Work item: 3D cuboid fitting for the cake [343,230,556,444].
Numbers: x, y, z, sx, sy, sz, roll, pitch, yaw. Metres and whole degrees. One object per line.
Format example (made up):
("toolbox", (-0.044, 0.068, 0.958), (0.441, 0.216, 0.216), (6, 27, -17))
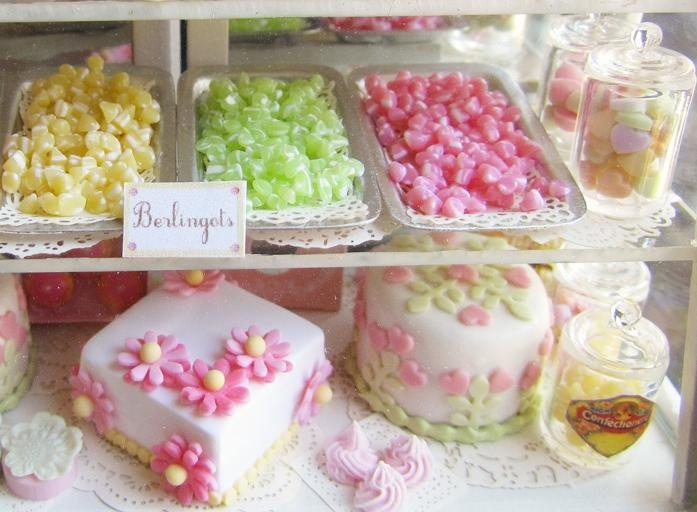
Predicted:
("cake", (0.227, 0.170, 1.290), (0.442, 0.258, 0.423), (0, 24, -9))

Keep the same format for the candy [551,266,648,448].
("candy", (0.552, 0.147, 1.299), (0.185, 0.179, 0.180), (1, 28, 4))

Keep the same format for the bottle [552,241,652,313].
("bottle", (0.576, 0.066, 1.351), (0.159, 0.144, 0.156), (-2, 24, -4))

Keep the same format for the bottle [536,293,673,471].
("bottle", (0.518, 0.239, 1.175), (0.198, 0.330, 0.192), (-3, 30, 2))

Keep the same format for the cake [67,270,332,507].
("cake", (-0.278, 0.248, 1.101), (0.401, 0.212, 0.400), (29, 33, 19))

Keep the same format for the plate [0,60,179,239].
("plate", (-0.459, -0.169, 1.072), (0.325, 0.125, 0.376), (0, 52, -7))
